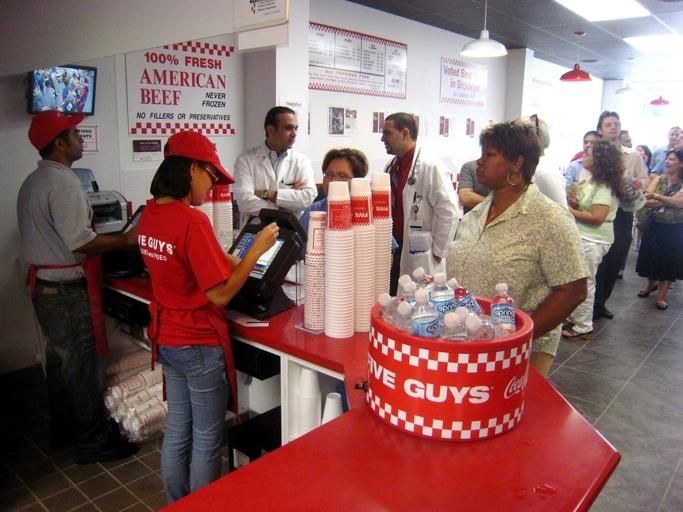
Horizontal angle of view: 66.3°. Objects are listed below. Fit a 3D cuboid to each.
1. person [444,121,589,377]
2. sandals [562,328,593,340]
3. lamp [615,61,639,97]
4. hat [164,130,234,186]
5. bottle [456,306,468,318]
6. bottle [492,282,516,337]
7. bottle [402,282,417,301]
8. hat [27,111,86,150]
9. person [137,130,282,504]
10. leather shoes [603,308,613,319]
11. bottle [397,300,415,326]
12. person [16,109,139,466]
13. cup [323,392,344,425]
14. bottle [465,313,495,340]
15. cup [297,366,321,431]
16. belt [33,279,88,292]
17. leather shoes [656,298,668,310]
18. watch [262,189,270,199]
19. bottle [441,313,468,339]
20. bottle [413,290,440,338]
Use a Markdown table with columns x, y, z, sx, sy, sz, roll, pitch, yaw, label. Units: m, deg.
| x | y | z | sx | sy | sz | roll | pitch | yaw | label |
| --- | --- | --- | --- | --- | --- | --- | --- | --- | --- |
| 0.798 | -0.015 | 2.404 | 0.647 | 1.162 | 0.378 | 9 | 16 | 34 | person |
| 2.252 | 0.763 | 4.970 | 0.282 | 0.125 | 0.118 | 6 | 4 | 7 | sandals |
| 6.465 | -4.010 | 11.811 | 0.731 | 0.516 | 0.730 | 11 | 31 | 23 | lamp |
| -0.658 | -0.495 | 2.478 | 0.341 | 0.181 | 0.220 | 12 | -1 | -33 | hat |
| 0.405 | 0.191 | 1.736 | 0.040 | 0.034 | 0.029 | 3 | 14 | 11 | bottle |
| 0.586 | 0.198 | 1.893 | 0.074 | 0.197 | 0.075 | 5 | -27 | 3 | bottle |
| 0.250 | 0.129 | 1.896 | 0.057 | 0.071 | 0.062 | 0 | 3 | 6 | bottle |
| -1.688 | -0.737 | 3.087 | 0.280 | 0.237 | 0.164 | 2 | 14 | 8 | hat |
| -0.640 | 0.344 | 2.513 | 0.634 | 1.826 | 0.439 | -1 | 13 | -4 | person |
| 2.903 | 0.635 | 5.654 | 0.067 | 0.083 | 0.187 | -5 | -9 | 32 | leather shoes |
| 0.223 | 0.202 | 1.804 | 0.053 | 0.102 | 0.074 | 2 | 14 | 7 | bottle |
| -1.606 | 0.204 | 3.201 | 0.625 | 2.107 | 0.419 | 8 | 15 | 32 | person |
| -0.036 | 0.630 | 2.126 | 0.071 | 0.119 | 0.084 | 4 | 14 | 18 | cup |
| 0.466 | 0.244 | 1.738 | 0.077 | 0.112 | 0.111 | -6 | 6 | 10 | bottle |
| -0.141 | 0.645 | 2.310 | 0.098 | 0.295 | 0.075 | 0 | 13 | 2 | cup |
| -1.692 | 0.180 | 3.114 | 0.297 | 0.073 | 0.060 | -2 | 14 | -7 | belt |
| 3.682 | 0.531 | 5.973 | 0.088 | 0.066 | 0.264 | -1 | 19 | 25 | leather shoes |
| -0.630 | -0.510 | 4.357 | 0.054 | 0.061 | 0.057 | -1 | 6 | 0 | watch |
| 0.378 | 0.236 | 1.727 | 0.051 | 0.098 | 0.053 | -6 | 22 | 2 | bottle |
| 0.294 | 0.198 | 1.754 | 0.100 | 0.147 | 0.103 | 0 | 14 | 0 | bottle |
